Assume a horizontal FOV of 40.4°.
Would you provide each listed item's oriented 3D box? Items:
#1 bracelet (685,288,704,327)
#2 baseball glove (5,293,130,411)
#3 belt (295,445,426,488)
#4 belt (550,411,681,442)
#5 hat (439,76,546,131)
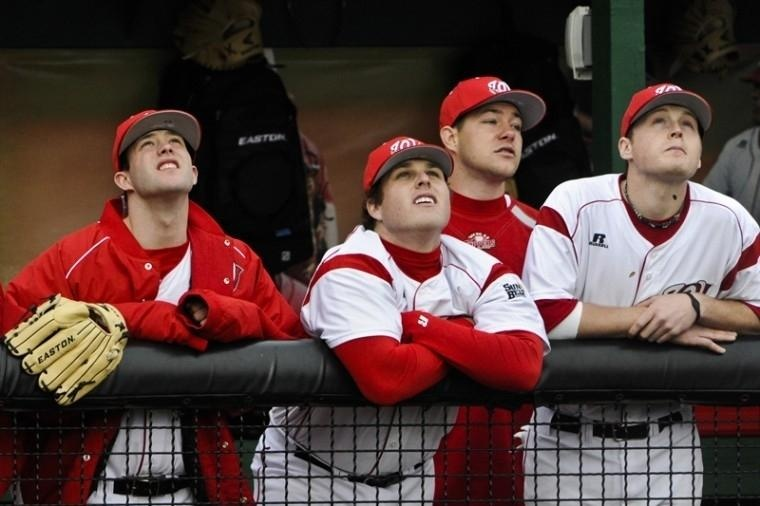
[{"bbox_3d":[1.434,0.255,4.807,0.046,0.110,0.095,-12,-30,-4],"label":"bracelet"},{"bbox_3d":[-1.314,0.425,4.573,0.494,0.433,0.172,-35,-11,-6],"label":"baseball glove"},{"bbox_3d":[-0.102,0.987,4.701,0.584,0.179,0.324,0,1,-3],"label":"belt"},{"bbox_3d":[1.104,0.813,4.802,0.303,0.075,0.293,2,-1,-43],"label":"belt"},{"bbox_3d":[0.630,-0.846,5.804,0.473,0.238,0.313,-26,-24,36],"label":"hat"}]
